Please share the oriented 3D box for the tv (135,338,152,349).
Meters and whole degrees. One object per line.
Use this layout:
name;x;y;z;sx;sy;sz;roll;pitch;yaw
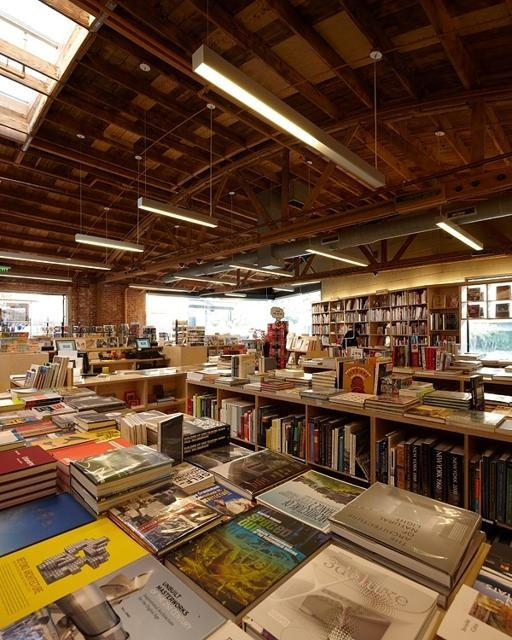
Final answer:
tv;-1.974;0.436;7.802;0.318;0.155;0.301;-1;14;-10
